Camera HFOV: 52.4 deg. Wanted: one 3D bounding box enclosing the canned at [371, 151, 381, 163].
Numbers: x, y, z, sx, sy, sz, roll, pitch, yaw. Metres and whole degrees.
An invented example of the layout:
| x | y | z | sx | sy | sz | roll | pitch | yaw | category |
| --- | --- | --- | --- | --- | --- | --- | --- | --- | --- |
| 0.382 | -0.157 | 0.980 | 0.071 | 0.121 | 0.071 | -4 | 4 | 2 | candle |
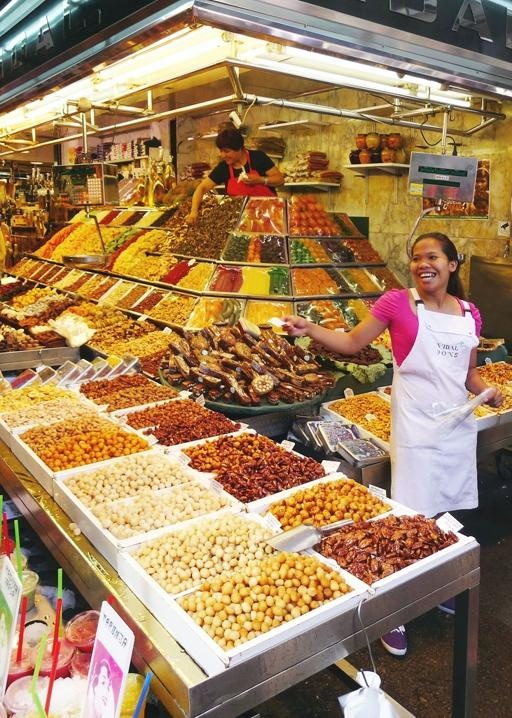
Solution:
| x | y | z | sx | sy | sz | roll | pitch | yaw | category |
| --- | --- | --- | --- | --- | --- | --- | --- | --- | --- |
| 1.310 | -2.201 | 5.669 | 0.126 | 0.122 | 0.046 | 10 | 19 | 40 | canned |

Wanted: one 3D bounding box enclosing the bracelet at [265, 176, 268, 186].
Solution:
| x | y | z | sx | sy | sz | roll | pitch | yaw | category |
| --- | --- | --- | --- | --- | --- | --- | --- | --- | --- |
| 0.096 | -1.639 | 4.786 | 0.039 | 0.069 | 0.099 | -2 | 14 | 2 | bracelet |

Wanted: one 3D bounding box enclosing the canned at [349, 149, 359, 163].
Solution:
| x | y | z | sx | sy | sz | roll | pitch | yaw | category |
| --- | --- | --- | --- | --- | --- | --- | --- | --- | --- |
| 1.089 | -2.273 | 5.836 | 0.134 | 0.140 | 0.130 | -2 | 7 | -8 | canned |

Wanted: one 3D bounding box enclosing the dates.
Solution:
| x | y | z | sx | sy | sz | roll | pitch | yaw | category |
| --- | --- | --- | --- | --- | --- | --- | --- | --- | --- |
| 0.220 | 0.419 | 1.653 | 0.256 | 0.084 | 0.281 | -4 | 11 | -12 | dates |

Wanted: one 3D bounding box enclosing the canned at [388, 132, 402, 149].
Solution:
| x | y | z | sx | sy | sz | roll | pitch | yaw | category |
| --- | --- | --- | --- | --- | --- | --- | --- | --- | --- |
| 1.504 | -2.328 | 5.570 | 0.135 | 0.153 | 0.238 | 12 | 19 | 42 | canned |

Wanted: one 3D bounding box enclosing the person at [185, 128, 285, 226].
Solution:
| x | y | z | sx | sy | sz | roll | pitch | yaw | category |
| --- | --- | --- | --- | --- | --- | --- | --- | --- | --- |
| -0.165 | -1.560 | 5.103 | 0.941 | 1.220 | 0.565 | -12 | 25 | 3 | person |

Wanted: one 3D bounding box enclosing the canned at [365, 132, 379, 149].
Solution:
| x | y | z | sx | sy | sz | roll | pitch | yaw | category |
| --- | --- | --- | --- | --- | --- | --- | --- | --- | --- |
| 1.264 | -2.357 | 5.633 | 0.167 | 0.161 | 0.082 | 4 | 16 | 21 | canned |

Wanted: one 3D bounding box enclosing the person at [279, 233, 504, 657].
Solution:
| x | y | z | sx | sy | sz | roll | pitch | yaw | category |
| --- | --- | --- | --- | --- | --- | --- | --- | --- | --- |
| 0.569 | 0.365 | 2.153 | 1.065 | 1.726 | 0.605 | 0 | 3 | -18 | person |

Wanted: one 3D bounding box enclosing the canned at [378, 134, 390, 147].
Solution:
| x | y | z | sx | sy | sz | roll | pitch | yaw | category |
| --- | --- | --- | --- | --- | --- | --- | --- | --- | --- |
| 1.354 | -2.356 | 5.615 | 0.125 | 0.132 | 0.117 | 0 | 4 | -6 | canned |
